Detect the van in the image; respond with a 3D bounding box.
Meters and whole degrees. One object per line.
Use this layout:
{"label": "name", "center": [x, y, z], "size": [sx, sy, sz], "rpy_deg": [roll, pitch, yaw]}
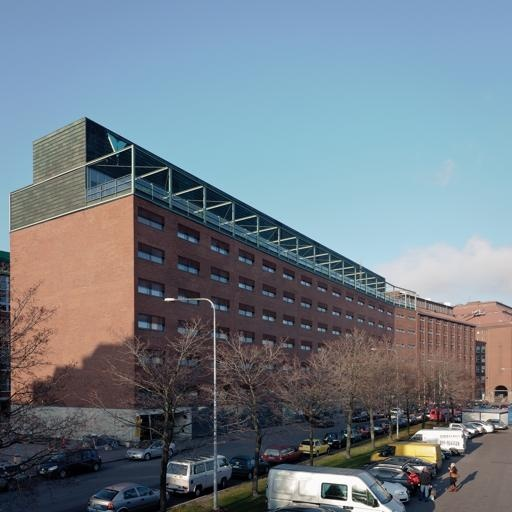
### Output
{"label": "van", "center": [-3.481, 13.161, 42.152], "size": [2.343, 1.844, 5.502], "rpy_deg": [-4, -8, 26]}
